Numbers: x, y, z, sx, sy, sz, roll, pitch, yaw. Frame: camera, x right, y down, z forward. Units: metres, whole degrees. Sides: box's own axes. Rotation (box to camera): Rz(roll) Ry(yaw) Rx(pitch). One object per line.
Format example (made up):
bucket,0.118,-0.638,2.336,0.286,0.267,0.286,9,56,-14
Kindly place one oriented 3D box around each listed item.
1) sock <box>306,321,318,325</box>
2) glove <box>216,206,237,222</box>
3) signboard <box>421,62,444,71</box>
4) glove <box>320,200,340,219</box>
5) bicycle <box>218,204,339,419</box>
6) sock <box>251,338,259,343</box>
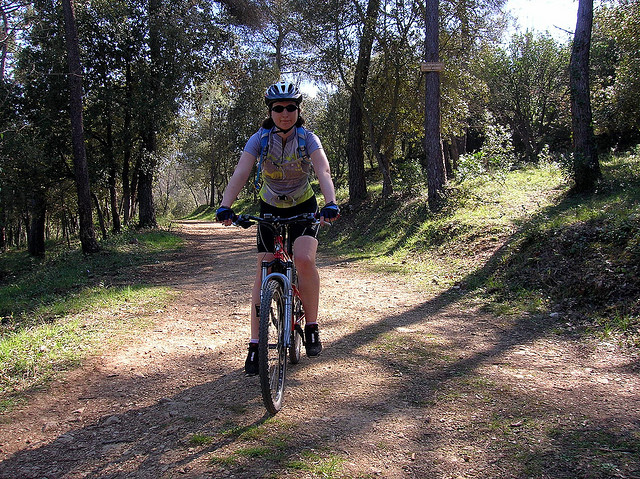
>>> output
sock,-0.106,1.128,7.035,0.157,0.041,0.055,-6,7,-21
glove,-1.216,-0.323,6.869,0.255,0.204,0.248,-4,7,-15
signboard,3.369,-5.240,15.911,0.662,0.248,0.227,-2,7,3
glove,0.116,-0.381,6.805,0.239,0.229,0.197,-3,7,0
bicycle,-0.513,0.860,6.898,1.315,2.622,1.434,0,7,23
sock,-0.828,1.307,6.736,0.097,0.026,0.095,2,6,-3
